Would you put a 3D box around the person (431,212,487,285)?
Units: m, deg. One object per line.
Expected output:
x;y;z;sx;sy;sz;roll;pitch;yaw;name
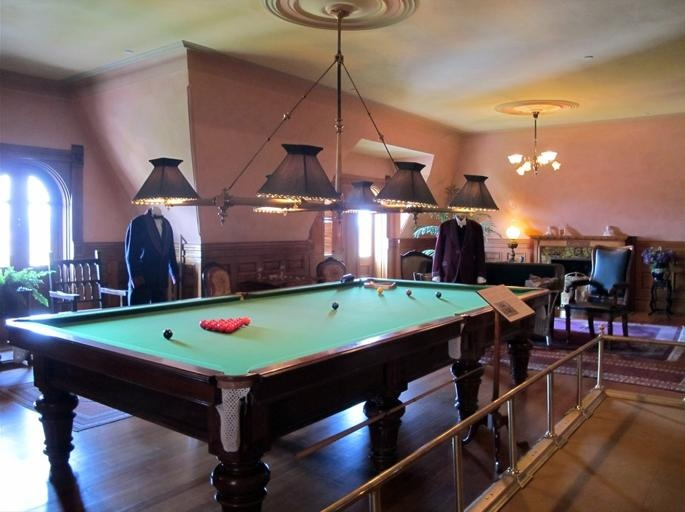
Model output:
1.462;-0.095;6.484;0.641;0.812;0.359;3;9;9;person

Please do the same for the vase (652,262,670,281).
5.360;0.247;8.684;0.278;0.313;0.276;-1;6;12;vase

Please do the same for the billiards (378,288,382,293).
0.336;0.312;4.747;0.034;0.033;0.039;8;45;8;billiards

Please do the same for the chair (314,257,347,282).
-0.176;0.170;7.836;0.378;0.371;0.383;1;4;25;chair

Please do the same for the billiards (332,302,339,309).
-0.061;0.373;3.899;0.045;0.042;0.044;0;-1;-12;billiards

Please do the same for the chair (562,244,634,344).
3.562;0.482;7.187;0.731;1.260;1.776;6;10;28;chair

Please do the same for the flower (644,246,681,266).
5.380;0.006;8.742;0.367;0.344;0.409;0;-1;3;flower

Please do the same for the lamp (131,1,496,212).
-0.451;-1.748;5.769;2.033;1.457;2.171;0;2;35;lamp

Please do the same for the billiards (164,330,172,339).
-1.055;0.470;3.144;0.052;0.058;0.052;1;1;15;billiards

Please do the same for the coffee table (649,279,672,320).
5.507;0.687;8.916;0.359;0.607;0.530;6;10;32;coffee table

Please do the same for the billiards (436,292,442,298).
0.839;0.335;4.518;0.045;0.036;0.041;0;-1;-8;billiards

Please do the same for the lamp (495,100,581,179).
3.150;-1.901;8.763;1.278;1.049;1.310;8;14;43;lamp

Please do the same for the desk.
-0.392;0.963;3.722;3.290;1.194;1.913;-4;10;-34;desk

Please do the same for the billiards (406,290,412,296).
0.594;0.324;4.633;0.043;0.040;0.042;-2;-2;-4;billiards
